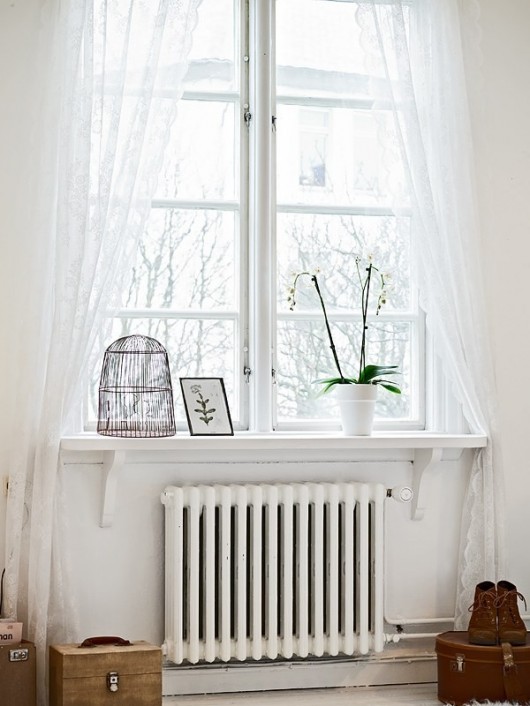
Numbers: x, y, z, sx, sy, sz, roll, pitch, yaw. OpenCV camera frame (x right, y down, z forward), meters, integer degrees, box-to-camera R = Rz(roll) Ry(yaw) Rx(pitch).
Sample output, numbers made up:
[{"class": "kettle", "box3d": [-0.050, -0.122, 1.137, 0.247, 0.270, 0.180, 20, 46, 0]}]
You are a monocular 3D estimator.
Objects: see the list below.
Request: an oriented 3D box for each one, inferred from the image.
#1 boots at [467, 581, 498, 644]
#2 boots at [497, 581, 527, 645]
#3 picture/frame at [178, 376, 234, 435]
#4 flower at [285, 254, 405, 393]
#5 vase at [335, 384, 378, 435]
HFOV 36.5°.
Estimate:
[{"class": "boots", "box3d": [0.661, 0.807, 2.454, 0.088, 0.159, 0.095, -3, -4, 19]}, {"class": "boots", "box3d": [0.753, 0.800, 2.437, 0.063, 0.097, 0.203, -1, 3, 3]}, {"class": "picture/frame", "box3d": [-0.185, 0.166, 2.532, 0.142, 0.235, 0.010, -2, 33, 8]}, {"class": "flower", "box3d": [0.335, -0.100, 2.731, 0.265, 0.447, 0.284, 0, -10, 5]}, {"class": "vase", "box3d": [0.305, 0.179, 2.630, 0.128, 0.179, 0.145, 1, -2, 10]}]
